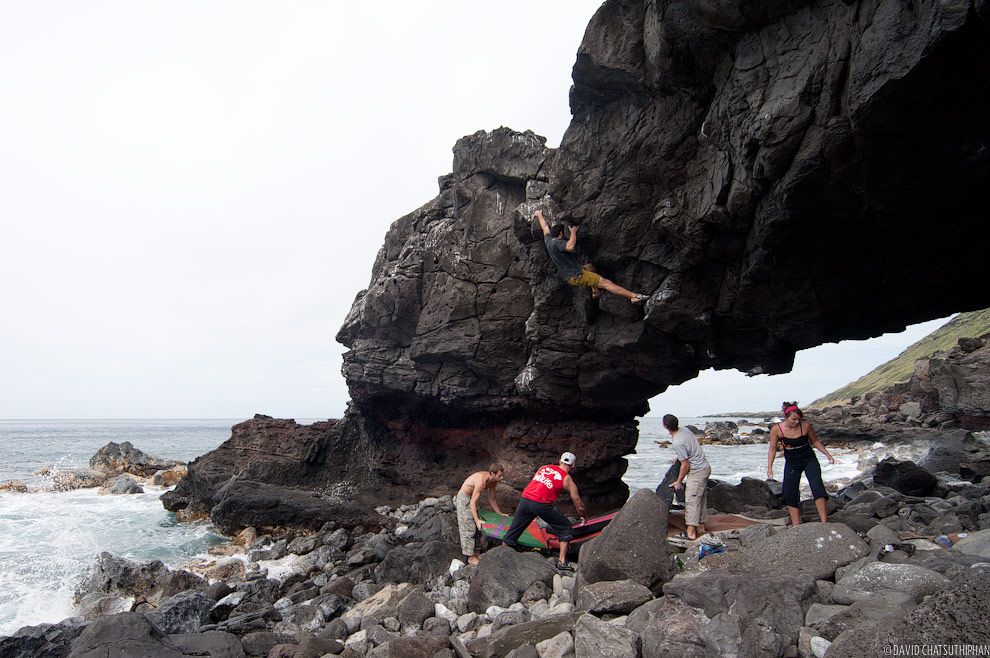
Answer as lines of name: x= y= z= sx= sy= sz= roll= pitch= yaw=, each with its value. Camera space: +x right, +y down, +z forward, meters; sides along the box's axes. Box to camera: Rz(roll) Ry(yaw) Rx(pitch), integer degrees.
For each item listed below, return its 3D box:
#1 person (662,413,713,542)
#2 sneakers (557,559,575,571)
person: x=4.743 y=3.628 z=14.929 sx=1.458 sy=2.889 sz=0.786 roll=9 pitch=-15 yaw=-33
sneakers: x=1.645 y=5.548 z=14.204 sx=0.435 sy=0.187 sz=0.167 roll=5 pitch=-9 yaw=-11
